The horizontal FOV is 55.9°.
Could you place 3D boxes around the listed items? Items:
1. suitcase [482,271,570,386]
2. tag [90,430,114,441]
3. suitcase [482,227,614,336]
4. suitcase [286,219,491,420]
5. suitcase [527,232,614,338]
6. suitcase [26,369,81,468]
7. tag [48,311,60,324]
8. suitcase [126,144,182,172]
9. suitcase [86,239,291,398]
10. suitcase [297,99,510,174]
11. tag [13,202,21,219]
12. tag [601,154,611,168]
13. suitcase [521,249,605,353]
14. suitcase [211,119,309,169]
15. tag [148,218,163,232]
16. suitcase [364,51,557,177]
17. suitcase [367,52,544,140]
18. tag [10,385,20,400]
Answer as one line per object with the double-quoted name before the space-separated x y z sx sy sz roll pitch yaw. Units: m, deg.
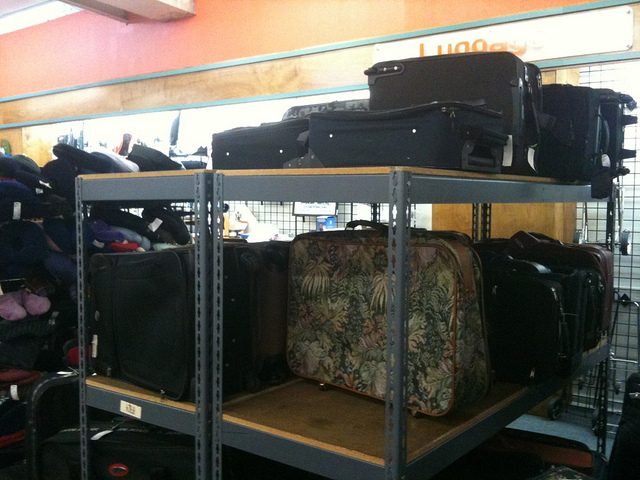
"suitcase" 0.816 0.361 2.409 0.449 0.432 0.262 -3 -1 32
"tag" -0.936 0.826 2.547 0.025 0.007 0.110 12 11 18
"suitcase" 1.031 0.199 2.694 0.338 0.549 0.585 -4 9 -35
"suitcase" 0.253 0.260 2.360 0.739 0.617 0.265 3 6 33
"suitcase" 1.336 0.232 3.278 0.455 0.520 0.371 6 -14 21
"suitcase" -1.387 0.866 3.098 0.257 0.326 0.168 -3 4 -27
"tag" -1.518 0.439 3.402 0.019 0.081 0.054 8 -9 31
"suitcase" -1.013 -0.479 3.572 0.283 0.103 0.220 21 17 37
"suitcase" -0.487 0.296 2.431 0.638 0.645 0.405 3 1 37
"suitcase" 0.260 -0.351 2.057 0.450 0.167 0.353 5 10 31
"tag" -1.668 -0.162 3.287 0.034 0.086 0.045 -4 5 -40
"tag" 1.433 -0.395 2.999 0.063 0.066 0.015 -3 6 -32
"suitcase" 1.111 0.316 2.863 0.400 0.357 0.228 2 -19 6
"suitcase" -0.218 -0.325 2.282 0.240 0.089 0.246 3 11 36
"tag" -0.999 -0.102 3.632 0.075 0.058 0.023 -33 -8 10
"suitcase" 0.559 -0.541 2.579 0.703 0.478 0.485 2 8 23
"suitcase" 0.633 -0.634 2.469 0.419 0.282 0.540 -9 12 -41
"tag" -1.718 0.849 3.357 0.042 0.080 0.018 -3 4 -30
